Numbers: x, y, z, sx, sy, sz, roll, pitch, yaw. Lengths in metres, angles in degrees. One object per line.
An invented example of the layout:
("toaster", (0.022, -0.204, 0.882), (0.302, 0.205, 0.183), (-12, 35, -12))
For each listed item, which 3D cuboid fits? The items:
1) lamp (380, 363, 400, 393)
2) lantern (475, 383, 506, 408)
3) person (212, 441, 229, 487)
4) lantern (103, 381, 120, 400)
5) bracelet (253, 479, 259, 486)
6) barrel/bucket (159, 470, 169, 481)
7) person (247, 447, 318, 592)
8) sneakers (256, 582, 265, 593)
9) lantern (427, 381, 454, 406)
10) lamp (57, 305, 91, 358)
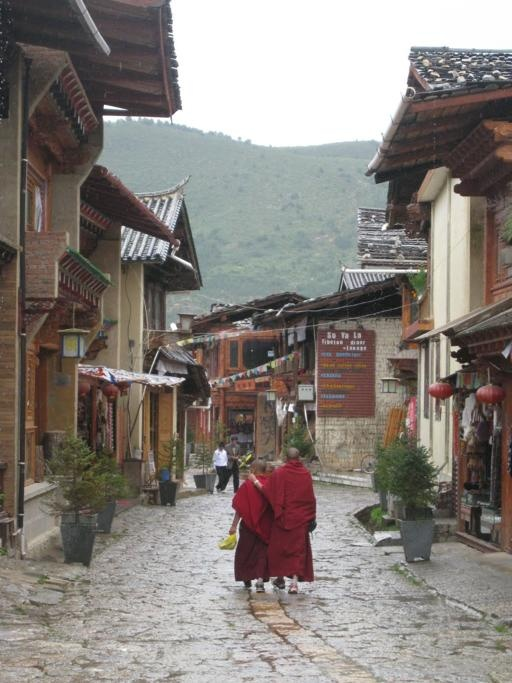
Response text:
("lamp", (3.916, 1.128, 36.645), (0.637, 0.826, 0.255), (1, 1, -21))
("lantern", (2.880, 0.661, 15.518), (0.244, 0.200, 0.251), (1, 0, 25))
("person", (-0.901, 3.056, 30.438), (0.346, 1.171, 1.065), (1, 0, -2))
("lantern", (-2.538, 0.884, 21.873), (0.290, 0.305, 0.293), (15, -14, -33))
("bracelet", (-0.012, 1.606, 14.226), (0.046, 0.022, 0.059), (29, -1, 20))
("barrel/bucket", (-1.994, 2.890, 26.930), (0.215, 0.249, 0.223), (2, -3, 0))
("person", (0.319, 2.073, 13.973), (0.638, 1.349, 0.735), (1, 1, 0))
("sneakers", (0.026, 2.703, 13.724), (0.091, 0.120, 0.261), (1, -2, 1))
("lantern", (2.696, 0.761, 18.420), (0.301, 0.356, 0.310), (0, 3, 21))
("lamp", (-2.561, -0.143, 17.359), (0.401, 0.784, 0.407), (1, -6, -6))
